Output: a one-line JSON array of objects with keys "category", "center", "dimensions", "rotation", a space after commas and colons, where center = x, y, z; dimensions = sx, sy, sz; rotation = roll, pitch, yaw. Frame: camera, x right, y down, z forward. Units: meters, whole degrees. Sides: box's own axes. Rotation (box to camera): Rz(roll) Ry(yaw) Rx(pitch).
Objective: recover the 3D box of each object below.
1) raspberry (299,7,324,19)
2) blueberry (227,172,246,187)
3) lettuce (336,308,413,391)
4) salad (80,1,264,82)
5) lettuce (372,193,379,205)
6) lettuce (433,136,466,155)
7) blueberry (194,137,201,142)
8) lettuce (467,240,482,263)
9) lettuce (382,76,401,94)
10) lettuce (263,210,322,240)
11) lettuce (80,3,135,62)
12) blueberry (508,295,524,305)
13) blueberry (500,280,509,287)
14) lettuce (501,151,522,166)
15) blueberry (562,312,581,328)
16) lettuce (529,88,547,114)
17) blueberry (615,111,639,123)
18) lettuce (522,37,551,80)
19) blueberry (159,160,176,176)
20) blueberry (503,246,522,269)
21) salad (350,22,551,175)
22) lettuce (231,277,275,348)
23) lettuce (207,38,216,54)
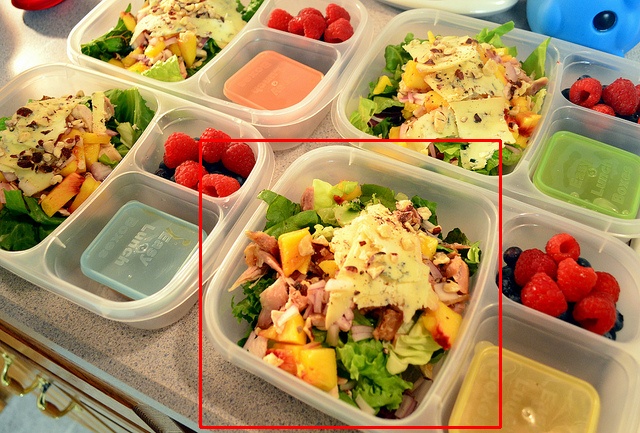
[{"category": "raspberry", "center": [-0.048, -1.154, 2.666], "dimensions": [0.092, 0.079, 0.059], "rotation": [7, 98, 10]}, {"category": "blueberry", "center": [-0.398, -0.181, 2.279], "dimensions": [0.061, 0.076, 0.045], "rotation": [21, 89, -15]}, {"category": "lettuce", "center": [0.223, 0.591, 1.895], "dimensions": [0.318, 0.075, 0.173], "rotation": [11, 59, 7]}, {"category": "salad", "center": [-0.783, -1.034, 2.574], "dimensions": [0.511, 0.116, 0.777], "rotation": [33, 72, 27]}, {"category": "lettuce", "center": [0.258, -0.079, 2.136], "dimensions": [0.026, 0.014, 0.040], "rotation": [-5, 58, -4]}, {"category": "lettuce", "center": [0.615, -0.349, 2.267], "dimensions": [0.116, 0.037, 0.087], "rotation": [17, 93, -10]}, {"category": "blueberry", "center": [-0.603, -0.396, 2.375], "dimensions": [0.024, 0.019, 0.026], "rotation": [-4, 82, 2]}, {"category": "lettuce", "center": [0.670, 0.159, 2.036], "dimensions": [0.050, 0.024, 0.083], "rotation": [5, 90, -15]}, {"category": "lettuce", "center": [0.375, -0.692, 2.471], "dimensions": [0.031, 0.084, 0.083], "rotation": [19, 30, -8]}, {"category": "lettuce", "center": [-0.119, -0.009, 2.152], "dimensions": [0.180, 0.120, 0.233], "rotation": [-16, 28, -31]}, {"category": "lettuce", "center": [-1.172, -1.020, 2.667], "dimensions": [0.227, 0.260, 0.250], "rotation": [-16, 40, -7]}, {"category": "blueberry", "center": [0.828, 0.354, 2.009], "dimensions": [0.033, 0.024, 0.038], "rotation": [10, 17, -5]}, {"category": "blueberry", "center": [0.789, 0.294, 2.029], "dimensions": [0.021, 0.009, 0.029], "rotation": [-7, 50, 14]}, {"category": "lettuce", "center": [0.912, -0.272, 2.266], "dimensions": [0.062, 0.078, 0.038], "rotation": [-39, 102, -36]}, {"category": "blueberry", "center": [1.050, 0.434, 1.991], "dimensions": [0.080, 0.032, 0.050], "rotation": [11, 58, 6]}, {"category": "lettuce", "center": [1.094, -0.589, 2.381], "dimensions": [0.030, 0.094, 0.123], "rotation": [13, 72, -25]}, {"category": "blueberry", "center": [1.556, -0.509, 2.402], "dimensions": [0.076, 0.048, 0.068], "rotation": [9, 18, 28]}, {"category": "lettuce", "center": [1.126, -0.826, 2.473], "dimensions": [0.040, 0.216, 0.136], "rotation": [-25, 47, -39]}, {"category": "blueberry", "center": [-0.737, -0.239, 2.306], "dimensions": [0.063, 0.080, 0.071], "rotation": [1, 78, 2]}, {"category": "blueberry", "center": [0.836, 0.179, 2.086], "dimensions": [0.086, 0.070, 0.078], "rotation": [4, 80, -6]}, {"category": "salad", "center": [0.625, -0.498, 2.475], "dimensions": [0.866, 0.301, 0.843], "rotation": [17, 71, 11]}, {"category": "lettuce", "center": [-0.286, 0.398, 1.976], "dimensions": [0.143, 0.106, 0.279], "rotation": [23, 62, -4]}, {"category": "lettuce", "center": [-0.594, -0.968, 2.641], "dimensions": [0.042, 0.017, 0.067], "rotation": [-29, 110, -12]}]
